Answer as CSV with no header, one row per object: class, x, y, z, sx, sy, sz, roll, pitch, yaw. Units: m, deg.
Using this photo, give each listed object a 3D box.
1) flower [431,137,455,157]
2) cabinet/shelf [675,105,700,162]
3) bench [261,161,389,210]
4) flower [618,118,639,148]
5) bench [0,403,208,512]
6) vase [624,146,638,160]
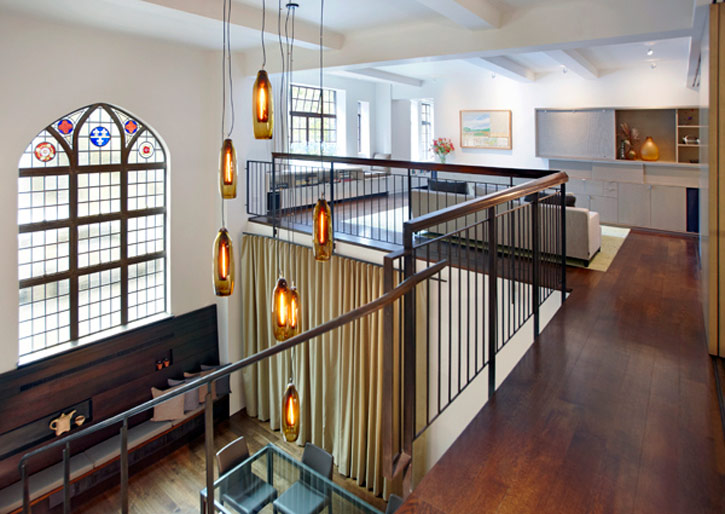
flower,1.908,-2.601,12.644,0.418,0.506,0.421,-1,-2,37
cabinet/shelf,5.930,-2.223,9.629,0.208,0.930,0.358,-13,9,-36
bench,-0.693,-1.530,11.511,2.435,0.782,0.459,-3,-13,9
flower,5.152,-2.344,10.349,0.342,0.513,0.302,-22,22,-26
bench,-4.120,3.137,8.188,2.628,0.318,0.476,-19,22,-40
vase,5.165,-1.998,10.141,0.209,0.239,0.245,2,16,22
